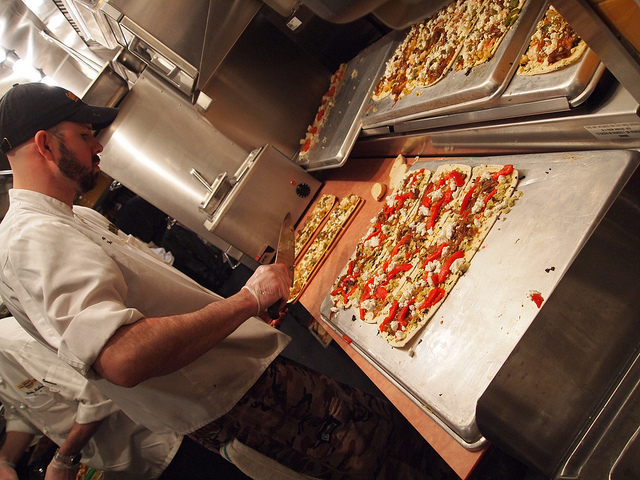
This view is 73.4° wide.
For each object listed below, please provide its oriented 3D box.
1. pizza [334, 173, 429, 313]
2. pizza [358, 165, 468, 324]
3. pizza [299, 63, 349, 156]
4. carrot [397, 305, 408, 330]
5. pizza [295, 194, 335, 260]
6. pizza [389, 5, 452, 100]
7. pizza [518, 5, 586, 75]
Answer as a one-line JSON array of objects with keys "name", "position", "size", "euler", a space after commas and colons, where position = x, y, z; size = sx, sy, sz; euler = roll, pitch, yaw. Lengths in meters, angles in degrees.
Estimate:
[{"name": "pizza", "position": [0.363, 0.020, 2.198], "size": [0.101, 0.951, 0.294], "euler": [34, -29, -18]}, {"name": "pizza", "position": [0.502, -0.008, 1.998], "size": [0.080, 1.079, 0.278], "euler": [29, -16, -16]}, {"name": "pizza", "position": [0.015, -0.946, 3.160], "size": [0.303, 0.757, 0.255], "euler": [-14, 23, -31]}, {"name": "carrot", "position": [0.331, 0.314, 1.740], "size": [0.043, 0.083, 0.022], "euler": [-9, -20, 30]}, {"name": "pizza", "position": [-0.052, -0.123, 2.910], "size": [0.067, 0.648, 0.154], "euler": [28, -35, -4]}, {"name": "pizza", "position": [0.629, -1.182, 2.498], "size": [0.111, 1.053, 0.279], "euler": [36, -35, -25]}, {"name": "pizza", "position": [0.911, -0.776, 1.631], "size": [0.033, 0.274, 0.262], "euler": [32, -5, -28]}]
